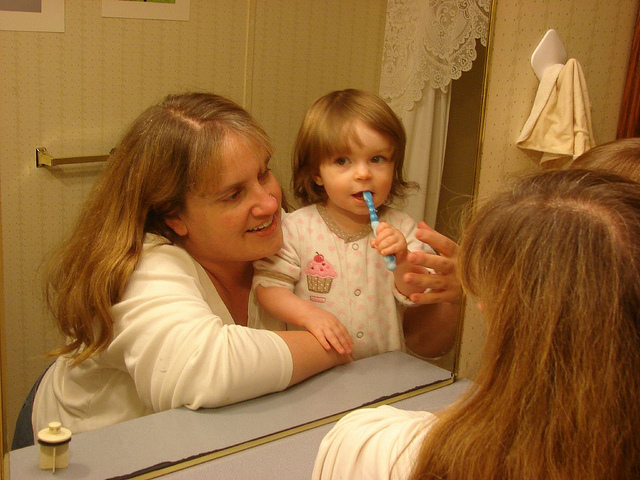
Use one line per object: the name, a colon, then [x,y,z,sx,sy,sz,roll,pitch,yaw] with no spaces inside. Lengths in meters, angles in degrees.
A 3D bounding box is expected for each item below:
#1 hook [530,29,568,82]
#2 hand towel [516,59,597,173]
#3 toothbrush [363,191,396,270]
hook: [0.525,-0.420,1.305,0.099,0.142,0.051,2,4,-28]
hand towel: [0.549,-0.289,1.290,0.164,0.243,0.109,0,6,29]
toothbrush: [0.104,-0.039,1.113,0.029,0.214,0.039,-19,-18,14]
